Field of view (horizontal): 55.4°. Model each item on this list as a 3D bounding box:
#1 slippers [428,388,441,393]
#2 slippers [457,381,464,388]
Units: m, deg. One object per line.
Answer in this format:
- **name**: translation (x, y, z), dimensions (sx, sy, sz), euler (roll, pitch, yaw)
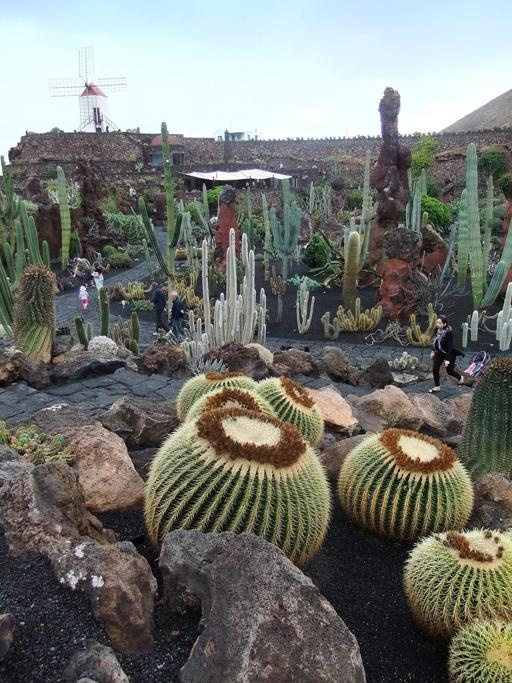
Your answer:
- **slippers**: translation (2.302, 0.626, 6.317), dimensions (0.162, 0.059, 0.058), euler (-3, 12, -24)
- **slippers**: translation (2.820, 0.594, 6.740), dimensions (0.035, 0.105, 0.044), euler (9, -17, 33)
